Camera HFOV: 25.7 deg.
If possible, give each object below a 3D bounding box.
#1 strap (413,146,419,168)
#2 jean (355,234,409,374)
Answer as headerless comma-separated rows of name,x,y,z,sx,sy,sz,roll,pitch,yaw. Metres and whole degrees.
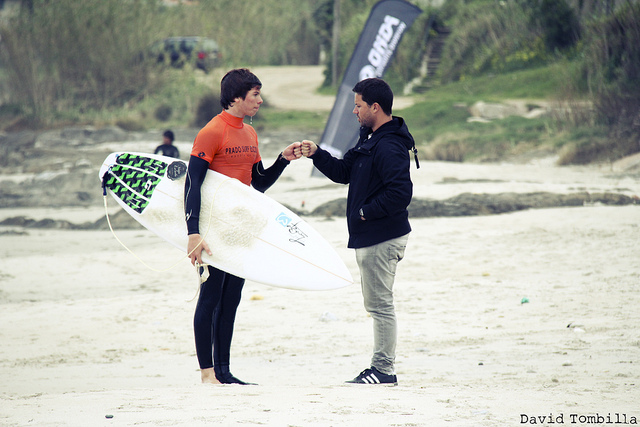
strap,1.139,-0.671,16.377,0.036,0.322,0.048,-9,8,23
jean,0.709,1.041,16.363,0.631,1.841,0.671,2,-8,4
